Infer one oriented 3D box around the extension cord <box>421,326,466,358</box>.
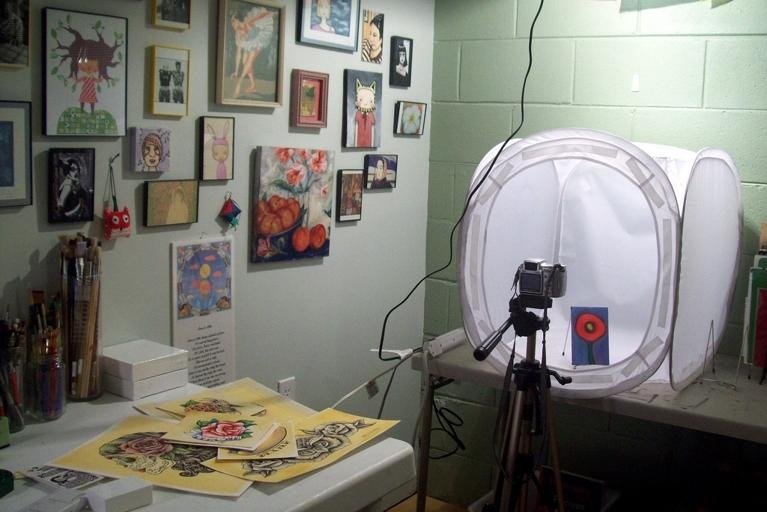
[{"bbox_3d":[0.225,0.309,2.086,0.069,0.061,0.196,-28,-7,33],"label":"extension cord"}]
